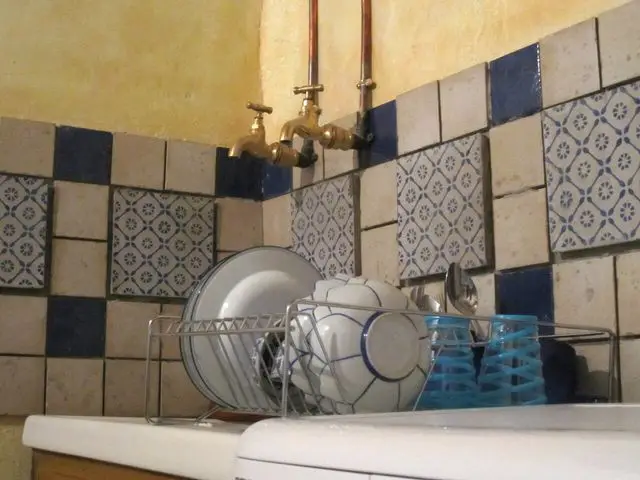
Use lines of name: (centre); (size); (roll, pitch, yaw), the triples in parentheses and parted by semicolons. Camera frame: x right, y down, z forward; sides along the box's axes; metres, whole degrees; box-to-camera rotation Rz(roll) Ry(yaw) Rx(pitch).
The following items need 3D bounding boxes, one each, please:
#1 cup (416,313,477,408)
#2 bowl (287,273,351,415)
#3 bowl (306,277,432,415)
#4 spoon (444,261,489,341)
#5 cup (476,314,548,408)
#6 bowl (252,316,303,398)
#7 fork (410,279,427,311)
cup: (0.210, 0.209, 1.546); (0.130, 0.146, 0.136); (0, -16, 0)
bowl: (-0.005, 0.166, 1.391); (0.059, 0.170, 0.165); (-9, -20, 41)
bowl: (0.061, 0.158, 1.440); (0.177, 0.199, 0.115); (25, -18, -22)
spoon: (0.276, 0.102, 1.725); (0.041, 0.212, 0.030); (-22, -43, 17)
cup: (0.311, 0.208, 1.560); (0.128, 0.178, 0.133); (4, -16, 1)
bowl: (-0.065, 0.192, 1.501); (0.026, 0.113, 0.114); (17, 26, 3)
fork: (0.206, 0.108, 1.855); (0.019, 0.017, 0.141); (17, 19, 11)
